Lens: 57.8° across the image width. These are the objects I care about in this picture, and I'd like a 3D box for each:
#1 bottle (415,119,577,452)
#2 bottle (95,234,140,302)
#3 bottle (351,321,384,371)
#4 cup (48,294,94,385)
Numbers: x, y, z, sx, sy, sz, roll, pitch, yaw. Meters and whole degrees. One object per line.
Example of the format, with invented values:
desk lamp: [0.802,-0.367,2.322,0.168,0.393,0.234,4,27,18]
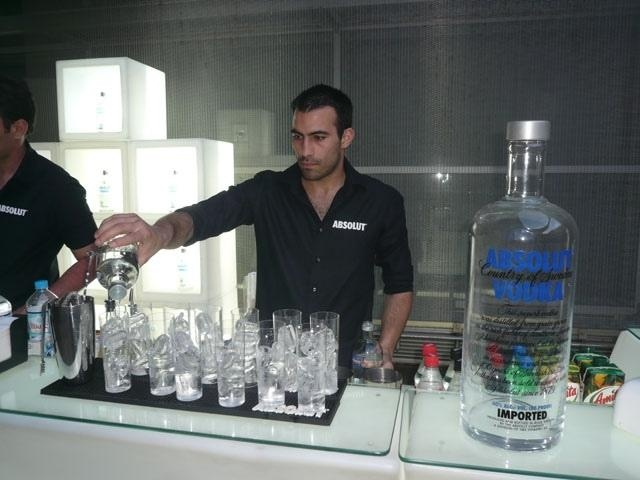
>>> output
bottle: [0.459,0.115,1.340,0.232,0.760,0.174,4,14,15]
bottle: [-0.554,0.095,1.614,0.129,0.175,0.125,0,14,0]
bottle: [0.158,0.380,1.976,0.111,0.199,0.113,-1,5,0]
cup: [-0.698,0.272,1.651,0.118,0.236,0.096,-6,15,-24]
